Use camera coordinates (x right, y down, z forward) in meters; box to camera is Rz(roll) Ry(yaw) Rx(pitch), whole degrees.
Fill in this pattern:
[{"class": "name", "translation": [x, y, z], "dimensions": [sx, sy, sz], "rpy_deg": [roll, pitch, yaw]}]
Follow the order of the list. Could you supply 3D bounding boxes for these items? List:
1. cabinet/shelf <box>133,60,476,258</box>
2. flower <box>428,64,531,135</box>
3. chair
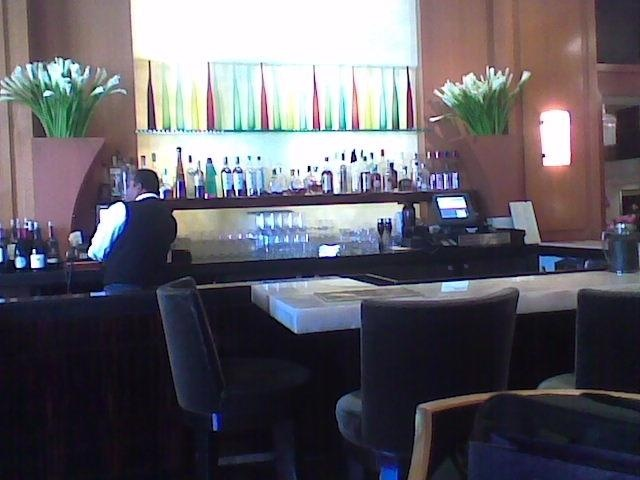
[{"class": "cabinet/shelf", "translation": [-0.320, -0.563, 5.030], "dimensions": [2.359, 1.735, 0.812], "rpy_deg": [-2, -15, -10]}, {"class": "flower", "translation": [1.350, -1.155, 4.797], "dimensions": [0.604, 0.496, 0.733], "rpy_deg": [1, 12, 43]}, {"class": "chair", "translation": [0.388, 0.554, 2.495], "dimensions": [1.724, 0.843, 0.700], "rpy_deg": [-7, 7, -11]}]
